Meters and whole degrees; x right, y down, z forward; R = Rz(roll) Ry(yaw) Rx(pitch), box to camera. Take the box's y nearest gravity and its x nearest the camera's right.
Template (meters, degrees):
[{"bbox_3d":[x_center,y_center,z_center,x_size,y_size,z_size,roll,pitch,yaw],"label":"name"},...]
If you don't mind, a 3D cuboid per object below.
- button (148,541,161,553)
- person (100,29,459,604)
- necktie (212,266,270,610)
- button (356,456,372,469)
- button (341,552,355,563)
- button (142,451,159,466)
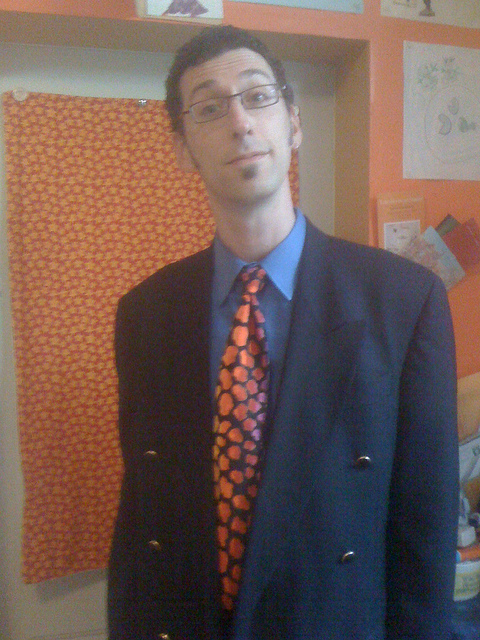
[{"bbox_3d":[-0.130,0.350,1.145,0.014,0.018,0.004,-3,11,-4],"label":"button"},{"bbox_3d":[0.066,0.026,1.134,0.547,0.871,0.222,-1,-4,-16],"label":"person"},{"bbox_3d":[0.003,0.176,1.115,0.098,0.523,0.048,-2,-4,2],"label":"necktie"},{"bbox_3d":[0.185,0.216,1.125,0.021,0.019,0.003,-1,-4,-18],"label":"button"},{"bbox_3d":[0.166,0.362,1.134,0.014,0.018,0.007,4,-2,-6],"label":"button"},{"bbox_3d":[-0.134,0.209,1.124,0.018,0.023,0.008,-4,-6,-30],"label":"button"}]
